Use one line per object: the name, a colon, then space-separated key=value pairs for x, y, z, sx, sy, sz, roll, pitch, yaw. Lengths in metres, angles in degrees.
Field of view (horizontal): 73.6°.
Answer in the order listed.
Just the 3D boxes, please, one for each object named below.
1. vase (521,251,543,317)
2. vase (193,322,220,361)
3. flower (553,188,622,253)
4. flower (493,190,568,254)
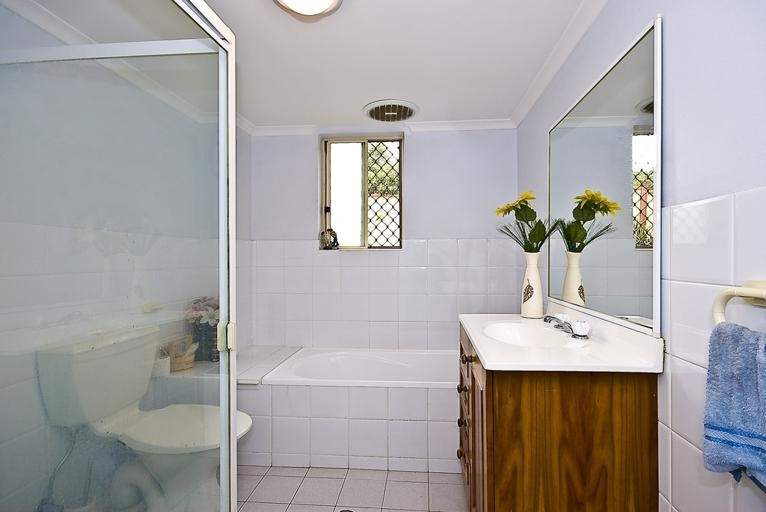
vase: x=0.828 y=0.147 z=2.834 sx=0.106 sy=0.353 sz=0.262 roll=1 pitch=4 yaw=17
vase: x=-0.697 y=0.342 z=1.997 sx=0.111 sy=0.163 sz=0.105 roll=-26 pitch=-29 yaw=34
flower: x=0.964 y=-0.148 z=2.394 sx=0.245 sy=0.274 sz=0.247 roll=25 pitch=-21 yaw=-23
flower: x=0.807 y=-0.181 z=2.925 sx=0.360 sy=0.427 sz=0.408 roll=-4 pitch=4 yaw=-3
